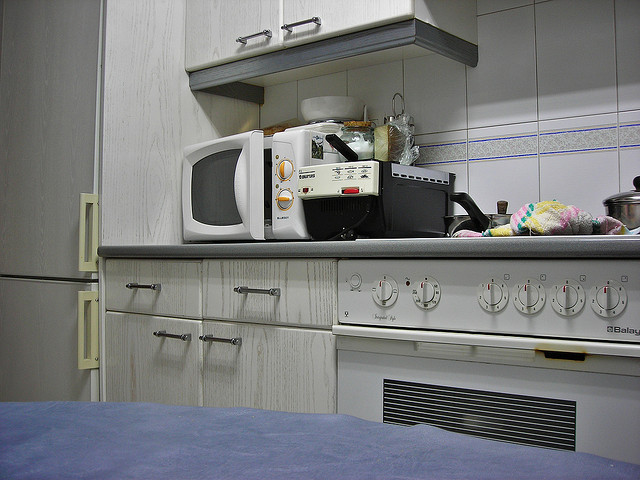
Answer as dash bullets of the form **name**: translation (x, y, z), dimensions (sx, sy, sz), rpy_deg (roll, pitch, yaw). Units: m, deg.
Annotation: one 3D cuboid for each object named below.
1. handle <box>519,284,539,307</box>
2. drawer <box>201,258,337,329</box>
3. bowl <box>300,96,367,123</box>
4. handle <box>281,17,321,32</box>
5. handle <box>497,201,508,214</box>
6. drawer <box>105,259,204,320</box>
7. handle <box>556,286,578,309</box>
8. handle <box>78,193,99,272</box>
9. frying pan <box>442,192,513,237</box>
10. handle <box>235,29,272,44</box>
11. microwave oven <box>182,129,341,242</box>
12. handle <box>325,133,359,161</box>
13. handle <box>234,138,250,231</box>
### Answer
- **handle**: translation (0.391, 0.104, 0.979), dimensions (0.034, 0.042, 0.008), rpy_deg (3, 7, 20)
- **drawer**: translation (-0.156, 0.133, 1.332), dimensions (0.454, 0.210, 0.041), rpy_deg (6, 8, 34)
- **bowl**: translation (0.045, -0.455, 1.948), dimensions (0.214, 0.109, 0.167), rpy_deg (10, 7, 42)
- **handle**: translation (-0.050, -0.684, 1.656), dimensions (0.086, 0.019, 0.032), rpy_deg (-1, -2, 44)
- **handle**: translation (0.528, -0.095, 1.517), dimensions (0.030, 0.043, 0.032), rpy_deg (1, -10, 7)
- **drawer**: translation (-0.494, 0.140, 1.581), dimensions (0.280, 0.139, 0.185), rpy_deg (-3, -8, 35)
- **handle**: translation (0.446, 0.103, 0.946), dimensions (0.034, 0.038, 0.006), rpy_deg (4, 7, 26)
- **handle**: translation (-0.765, -0.026, 1.748), dimensions (0.069, 0.270, 0.052), rpy_deg (1, -3, 2)
- **frying pan**: translation (0.384, -0.066, 1.380), dimensions (0.177, 0.138, 0.164), rpy_deg (-3, 7, -42)
- **handle**: translation (-0.224, -0.686, 1.794), dimensions (0.089, 0.023, 0.051), rpy_deg (-9, 0, 30)
- **microwave oven**: translation (-0.204, -0.154, 1.679), dimensions (0.362, 0.361, 0.511), rpy_deg (2, -2, -41)
- **handle**: translation (0.060, -0.248, 1.407), dimensions (0.073, 0.067, 0.080), rpy_deg (4, 8, 26)
- **handle**: translation (-0.241, -0.173, 1.622), dimensions (0.030, 0.280, 0.093), rpy_deg (-4, 8, -37)
